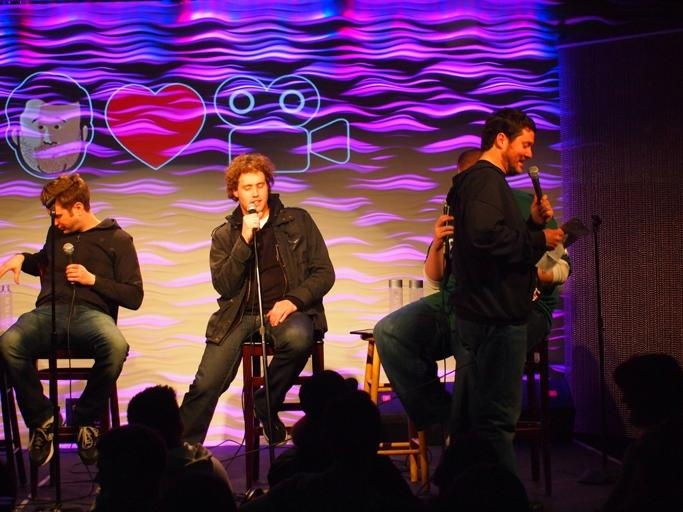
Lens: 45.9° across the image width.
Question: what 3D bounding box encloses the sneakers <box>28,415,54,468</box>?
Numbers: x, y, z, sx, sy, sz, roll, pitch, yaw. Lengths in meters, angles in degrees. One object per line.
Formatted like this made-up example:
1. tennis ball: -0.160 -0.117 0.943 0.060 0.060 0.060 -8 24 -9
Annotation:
1. sneakers: -1.857 1.143 4.982 0.136 0.278 0.267 2 -4 -21

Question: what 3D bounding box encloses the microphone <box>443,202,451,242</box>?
1. microphone: 0.639 -0.217 4.943 0.058 0.177 0.189 3 -6 8
